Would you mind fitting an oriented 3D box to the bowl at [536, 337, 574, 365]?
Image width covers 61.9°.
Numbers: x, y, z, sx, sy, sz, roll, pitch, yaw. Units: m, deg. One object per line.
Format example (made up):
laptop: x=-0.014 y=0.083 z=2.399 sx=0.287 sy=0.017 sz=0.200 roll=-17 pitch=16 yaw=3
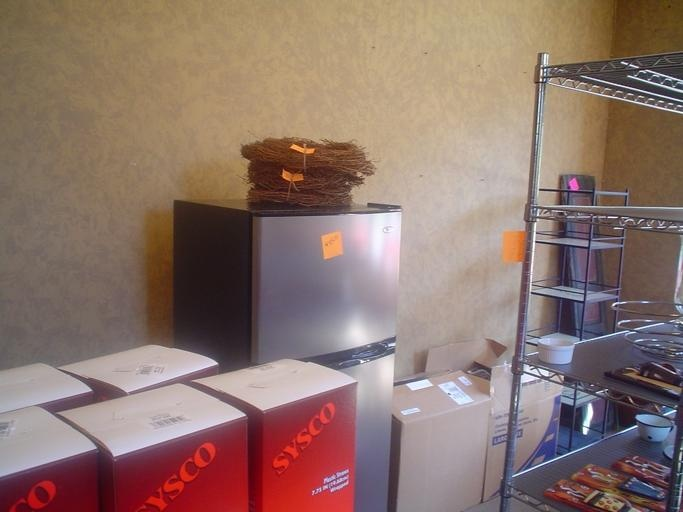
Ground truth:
bowl: x=0.871 y=0.379 z=2.311 sx=0.113 sy=0.057 sz=0.124 roll=2 pitch=-1 yaw=0
